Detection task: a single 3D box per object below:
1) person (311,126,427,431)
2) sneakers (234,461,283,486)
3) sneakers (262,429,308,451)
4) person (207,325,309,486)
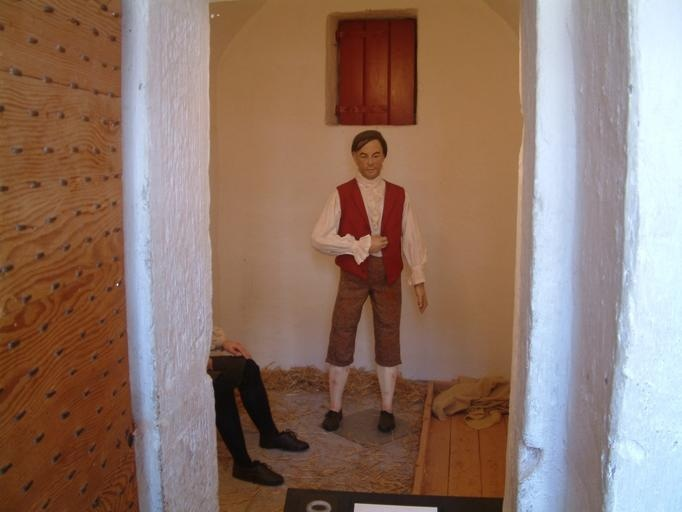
[{"bbox_3d":[0.203,0.181,3.646,0.747,2.000,0.368,1,11,6],"label":"person"},{"bbox_3d":[-0.471,1.235,3.114,0.294,0.127,0.118,8,0,4],"label":"sneakers"},{"bbox_3d":[-0.353,1.177,3.462,0.325,0.143,0.121,3,-8,-3],"label":"sneakers"},{"bbox_3d":[-0.478,0.852,3.137,0.511,0.874,0.484,-1,11,-4],"label":"person"}]
